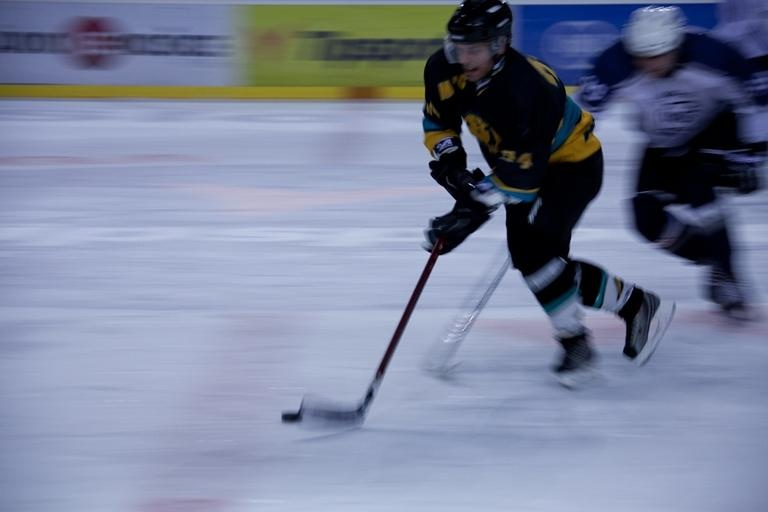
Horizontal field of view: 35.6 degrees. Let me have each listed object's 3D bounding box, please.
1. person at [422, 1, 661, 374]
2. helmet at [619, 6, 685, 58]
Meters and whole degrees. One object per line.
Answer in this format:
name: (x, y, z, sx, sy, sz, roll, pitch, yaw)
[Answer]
person: (0.741, -0.293, 5.567, 1.356, 1.712, 0.554, 9, 25, 8)
helmet: (1.309, -1.098, 5.806, 0.270, 0.154, 0.260, -3, 54, 25)
